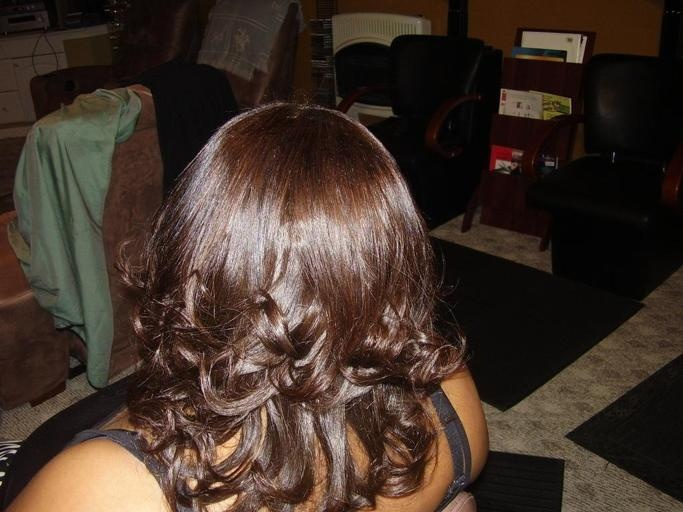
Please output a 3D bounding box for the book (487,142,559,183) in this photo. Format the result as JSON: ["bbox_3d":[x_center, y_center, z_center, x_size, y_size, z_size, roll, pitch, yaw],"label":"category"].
[{"bbox_3d":[0.911,-0.505,2.901,0.256,0.086,0.196,18,32,35],"label":"book"}]
